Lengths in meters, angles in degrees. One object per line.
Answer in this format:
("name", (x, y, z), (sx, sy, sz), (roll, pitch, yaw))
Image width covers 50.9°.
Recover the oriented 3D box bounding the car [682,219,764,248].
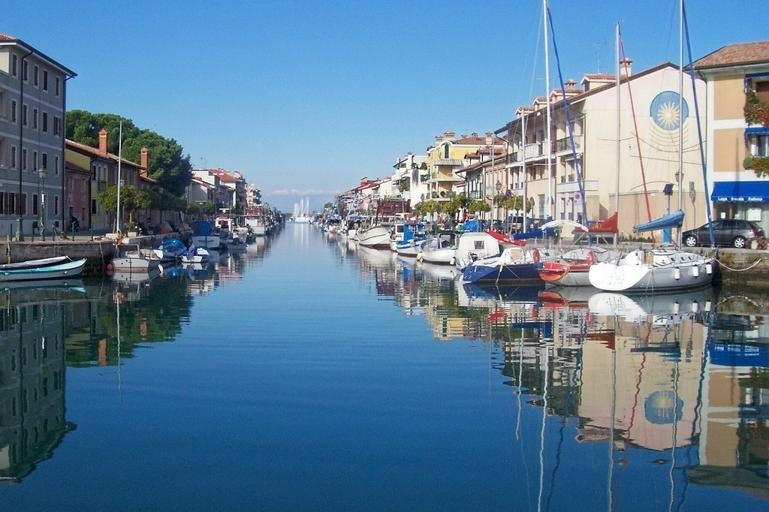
("car", (19.832, -1.260, 47.564), (3.897, 1.486, 1.831), (3, 2, 27))
